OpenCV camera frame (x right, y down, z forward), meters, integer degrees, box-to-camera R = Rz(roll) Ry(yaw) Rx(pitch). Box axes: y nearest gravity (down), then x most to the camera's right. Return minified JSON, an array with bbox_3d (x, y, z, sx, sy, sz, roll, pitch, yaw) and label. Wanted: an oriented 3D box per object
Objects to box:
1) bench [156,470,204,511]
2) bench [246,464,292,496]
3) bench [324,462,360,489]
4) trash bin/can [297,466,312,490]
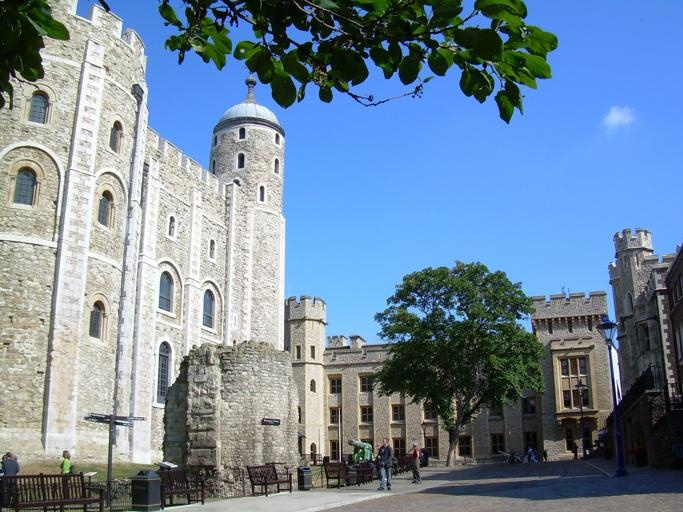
[{"bbox_3d":[-4.601,6.688,18.429,0.699,1.116,1.737,-11,-25,19],"label":"bench"},{"bbox_3d":[-2.526,7.600,22.014,0.610,0.912,1.483,-14,-21,28],"label":"bench"},{"bbox_3d":[-0.016,8.373,24.868,1.070,0.914,2.837,-6,-20,9],"label":"bench"},{"bbox_3d":[-1.388,8.207,23.969,0.499,0.948,0.715,-16,-22,29],"label":"trash bin/can"}]
